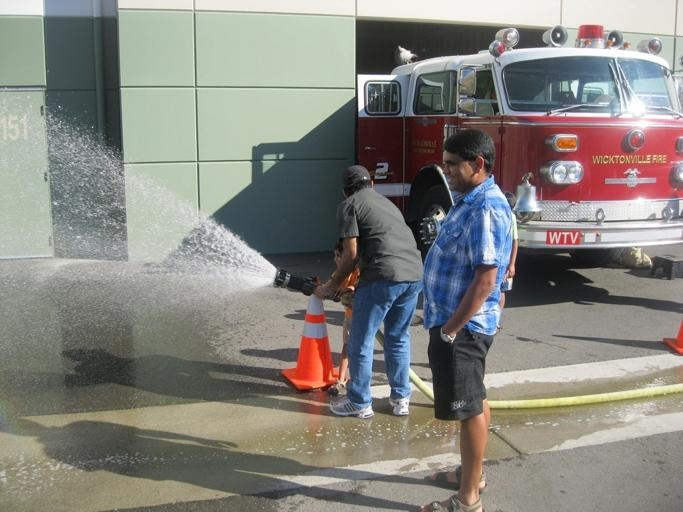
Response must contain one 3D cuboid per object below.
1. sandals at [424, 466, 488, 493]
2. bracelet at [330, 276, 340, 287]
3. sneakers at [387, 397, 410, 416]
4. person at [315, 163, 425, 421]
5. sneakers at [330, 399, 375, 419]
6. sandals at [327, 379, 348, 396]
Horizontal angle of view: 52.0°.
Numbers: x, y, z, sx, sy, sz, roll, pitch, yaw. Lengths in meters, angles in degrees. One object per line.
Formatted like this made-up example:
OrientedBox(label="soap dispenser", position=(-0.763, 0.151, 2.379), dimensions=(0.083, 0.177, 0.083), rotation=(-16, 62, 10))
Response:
OrientedBox(label="sandals", position=(0.868, 1.741, 5.496), dimensions=(0.485, 0.187, 0.179), rotation=(6, 6, 39))
OrientedBox(label="bracelet", position=(-0.064, 0.227, 6.368), dimensions=(0.107, 0.046, 0.097), rotation=(9, 8, -35))
OrientedBox(label="sneakers", position=(0.526, 1.380, 6.452), dimensions=(0.097, 0.097, 0.223), rotation=(0, -1, -13))
OrientedBox(label="person", position=(0.289, 0.437, 6.323), dimensions=(0.814, 2.052, 0.405), rotation=(2, 9, -1))
OrientedBox(label="sneakers", position=(0.076, 1.389, 6.454), dimensions=(0.413, 0.181, 0.161), rotation=(8, 10, 9))
OrientedBox(label="sandals", position=(-0.043, 1.281, 6.772), dimensions=(0.094, 0.092, 0.209), rotation=(0, -3, 36))
